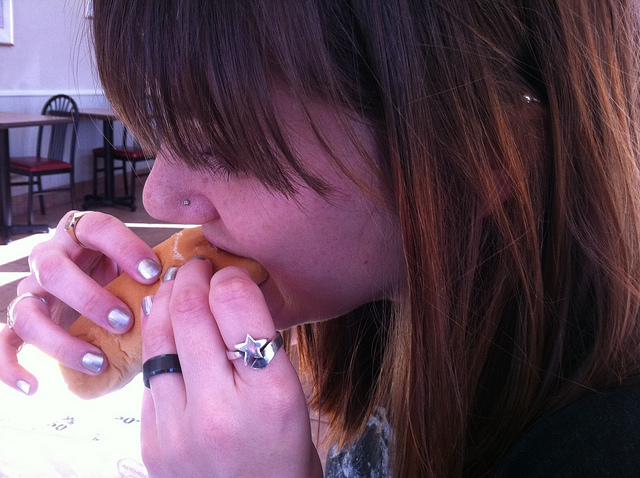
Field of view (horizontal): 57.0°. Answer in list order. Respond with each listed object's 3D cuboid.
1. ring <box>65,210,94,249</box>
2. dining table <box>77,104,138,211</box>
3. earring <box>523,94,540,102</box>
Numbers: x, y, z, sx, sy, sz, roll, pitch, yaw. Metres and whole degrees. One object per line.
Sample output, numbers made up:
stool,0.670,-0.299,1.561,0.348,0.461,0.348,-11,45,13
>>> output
ring,-0.568,-0.029,1.372,0.070,0.070,0.028,29,-5,-1
dining table,-2.092,-0.795,5.857,0.653,0.958,0.771,3,12,-4
earring,0.314,-0.212,0.879,0.025,0.008,0.007,28,9,-8
